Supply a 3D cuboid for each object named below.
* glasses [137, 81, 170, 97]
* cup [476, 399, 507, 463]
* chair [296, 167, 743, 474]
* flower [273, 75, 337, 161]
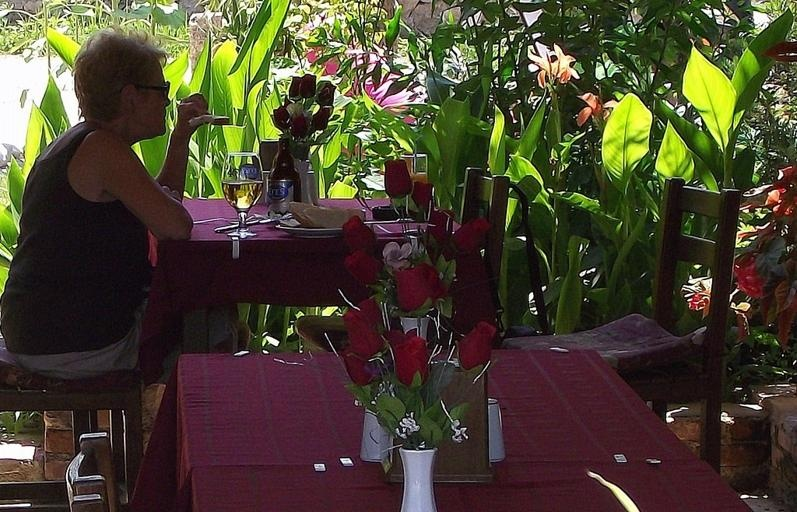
[{"bbox_3d":[-0.961,-0.652,2.264,0.078,0.026,0.081,-3,5,-33],"label":"glasses"},{"bbox_3d":[0.156,0.283,0.936,0.026,0.098,0.042,0,3,21],"label":"cup"},{"bbox_3d":[0.423,0.231,2.815,1.711,1.639,1.060,6,3,-4],"label":"chair"},{"bbox_3d":[-0.398,-0.629,2.642,0.223,0.396,0.321,0,3,22],"label":"flower"}]
